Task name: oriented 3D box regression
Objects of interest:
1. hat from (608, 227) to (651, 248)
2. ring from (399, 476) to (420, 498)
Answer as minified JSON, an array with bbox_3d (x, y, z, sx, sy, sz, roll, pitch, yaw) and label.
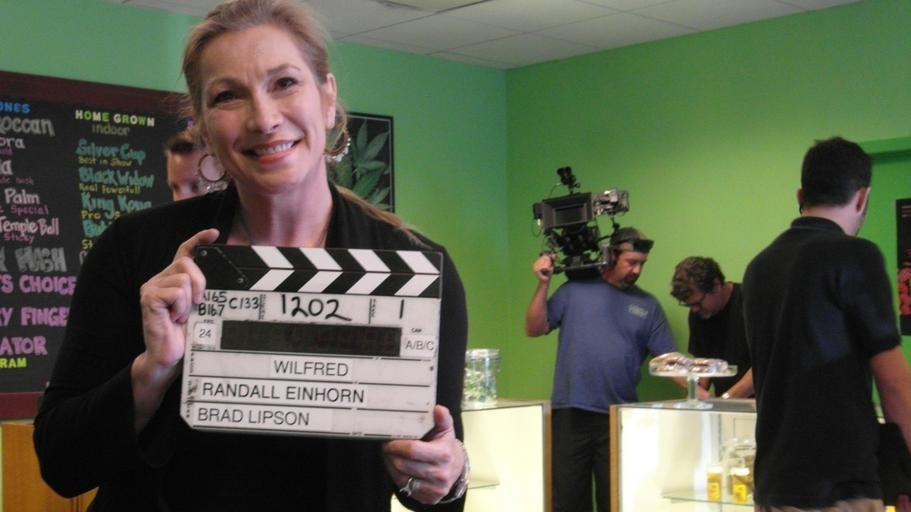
[{"bbox_3d":[1.401,-0.120,6.198,0.241,0.108,0.187,25,6,42],"label":"hat"},{"bbox_3d":[-0.145,0.729,2.454,0.039,0.065,0.053,34,-23,-3],"label":"ring"}]
